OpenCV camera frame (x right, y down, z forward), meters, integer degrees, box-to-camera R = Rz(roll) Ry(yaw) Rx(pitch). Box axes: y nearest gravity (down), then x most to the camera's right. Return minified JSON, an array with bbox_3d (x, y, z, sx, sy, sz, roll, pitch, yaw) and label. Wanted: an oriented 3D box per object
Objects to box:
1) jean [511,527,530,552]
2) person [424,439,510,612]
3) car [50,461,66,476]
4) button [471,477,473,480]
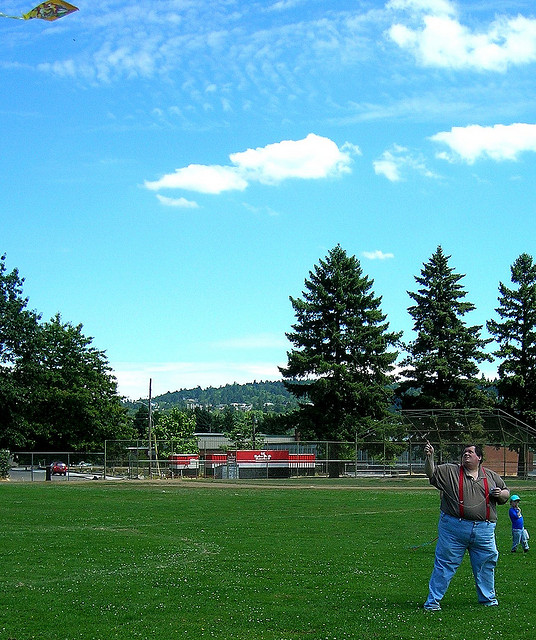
[{"bbox_3d":[5.310,4.626,18.445,0.335,0.449,0.499,-4,-8,14],"label":"jean"},{"bbox_3d":[2.549,2.679,11.317,1.123,2.151,0.797,-2,-8,5],"label":"person"},{"bbox_3d":[-16.208,11.672,68.157,1.288,0.920,1.983,2,5,-10],"label":"car"},{"bbox_3d":[2.624,2.033,11.195,0.025,0.045,0.025,-2,-4,6],"label":"button"}]
